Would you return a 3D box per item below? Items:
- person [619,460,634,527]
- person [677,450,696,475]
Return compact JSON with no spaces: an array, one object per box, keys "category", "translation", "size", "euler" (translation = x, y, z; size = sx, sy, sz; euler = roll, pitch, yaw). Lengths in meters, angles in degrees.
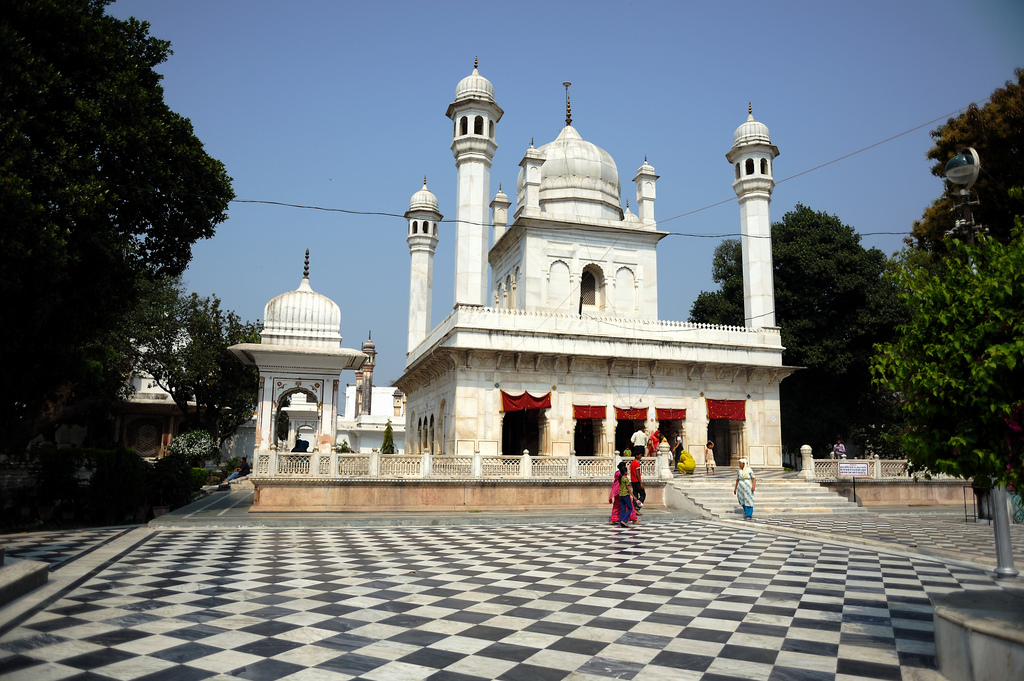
[{"category":"person","translation":[2.896,3.886,21.394],"size":[0.453,1.572,1.412],"euler":[-1,-11,8]},{"category":"person","translation":[6.008,4.201,28.858],"size":[0.495,0.798,0.957],"euler":[0,-11,4]}]
